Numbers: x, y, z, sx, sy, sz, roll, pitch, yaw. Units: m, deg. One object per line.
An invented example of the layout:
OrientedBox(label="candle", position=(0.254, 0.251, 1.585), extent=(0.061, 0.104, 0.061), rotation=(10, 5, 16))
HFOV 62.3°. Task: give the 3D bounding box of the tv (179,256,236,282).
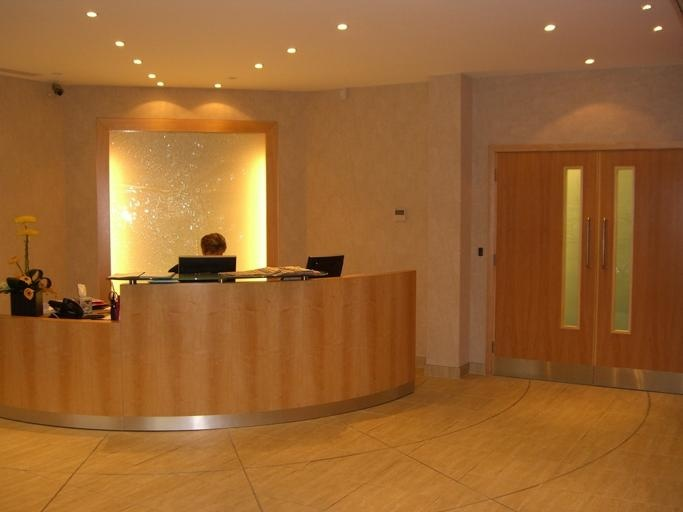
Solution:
OrientedBox(label="tv", position=(-1.209, 0.106, 5.032), extent=(0.398, 0.235, 0.267), rotation=(0, -2, -19))

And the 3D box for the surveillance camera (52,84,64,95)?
OrientedBox(label="surveillance camera", position=(-3.583, -2.096, 7.144), extent=(0.135, 0.142, 0.057), rotation=(-5, 9, -40))

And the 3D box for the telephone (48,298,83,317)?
OrientedBox(label="telephone", position=(-2.558, 0.483, 5.212), extent=(0.249, 0.099, 0.184), rotation=(-6, -9, 40))

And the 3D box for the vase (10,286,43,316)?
OrientedBox(label="vase", position=(-2.903, 0.416, 5.194), extent=(0.285, 0.252, 0.149), rotation=(1, 3, 6))

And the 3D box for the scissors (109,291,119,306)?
OrientedBox(label="scissors", position=(-2.040, 0.387, 5.070), extent=(0.095, 0.118, 0.044), rotation=(-2, -21, -6))

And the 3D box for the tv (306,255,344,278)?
OrientedBox(label="tv", position=(-0.150, 0.110, 5.652), extent=(0.318, 0.211, 0.193), rotation=(0, -5, -5))
